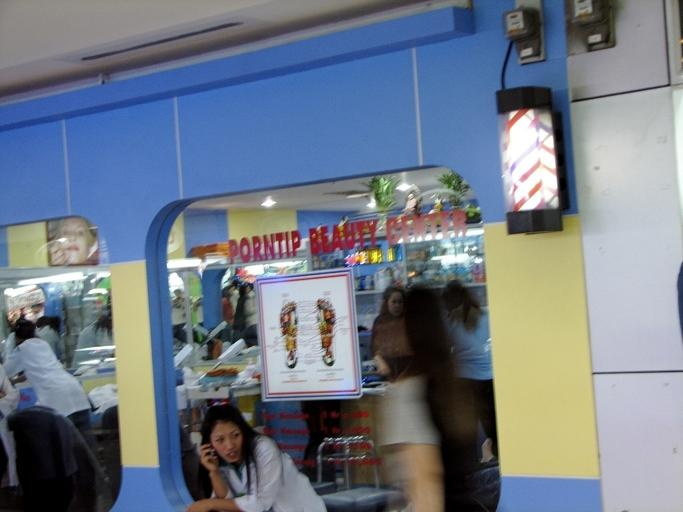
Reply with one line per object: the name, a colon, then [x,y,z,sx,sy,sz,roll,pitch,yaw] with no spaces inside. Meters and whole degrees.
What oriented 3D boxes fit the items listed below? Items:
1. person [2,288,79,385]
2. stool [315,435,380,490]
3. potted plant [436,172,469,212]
person: [-2.315,0.463,4.850,0.589,0.769,0.400,-2,0,27]
stool: [0.061,1.292,4.044,0.289,0.261,0.284,13,-20,-41]
potted plant: [0.658,-0.379,3.759,0.102,0.191,0.175,-16,23,-33]
